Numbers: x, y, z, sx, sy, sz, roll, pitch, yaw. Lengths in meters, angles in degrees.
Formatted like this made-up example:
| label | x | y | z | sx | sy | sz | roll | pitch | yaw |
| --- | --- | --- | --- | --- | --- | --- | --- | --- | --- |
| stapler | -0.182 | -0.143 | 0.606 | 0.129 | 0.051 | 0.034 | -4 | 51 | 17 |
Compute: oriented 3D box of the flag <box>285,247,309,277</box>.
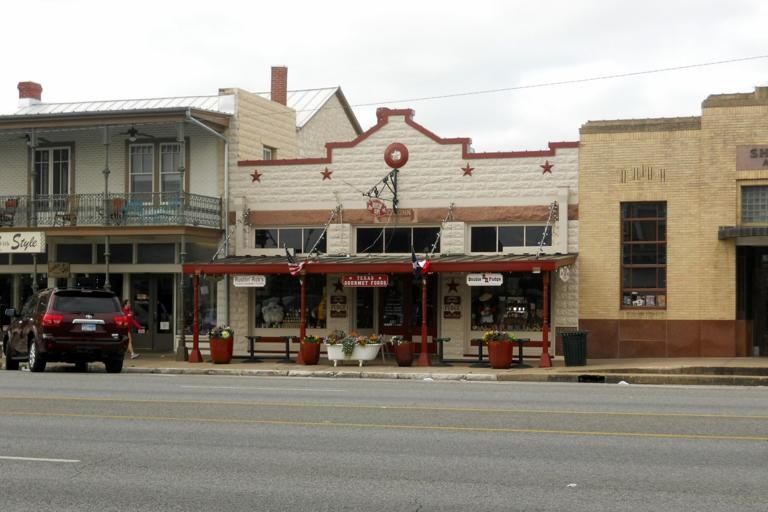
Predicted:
| label | x | y | z | sx | sy | sz | roll | pitch | yaw |
| --- | --- | --- | --- | --- | --- | --- | --- | --- | --- |
| flag | -2.742 | 0.162 | 38.528 | 0.808 | 0.555 | 0.968 | 2 | 5 | 5 |

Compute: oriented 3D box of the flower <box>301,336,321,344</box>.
| label | x | y | z | sx | sy | sz | roll | pitch | yaw |
| --- | --- | --- | --- | --- | --- | --- | --- | --- | --- |
| flower | -2.183 | 2.437 | 38.096 | 0.480 | 0.229 | 0.600 | 0 | -5 | 9 |

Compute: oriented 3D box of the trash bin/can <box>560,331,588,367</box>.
| label | x | y | z | sx | sy | sz | roll | pitch | yaw |
| --- | --- | --- | --- | --- | --- | --- | --- | --- | --- |
| trash bin/can | 5.624 | 2.624 | 36.866 | 1.025 | 0.937 | 0.942 | -1 | -4 | 2 |

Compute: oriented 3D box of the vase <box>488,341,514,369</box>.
| label | x | y | z | sx | sy | sz | roll | pitch | yaw |
| --- | --- | --- | --- | --- | --- | --- | --- | --- | --- |
| vase | 3.484 | 2.758 | 36.544 | 0.877 | 0.697 | 0.810 | 0 | -6 | -5 |

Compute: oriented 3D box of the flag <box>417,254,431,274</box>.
| label | x | y | z | sx | sy | sz | roll | pitch | yaw |
| --- | --- | --- | --- | --- | --- | --- | --- | --- | --- |
| flag | 1.234 | 0.177 | 37.152 | 0.361 | 0.505 | 0.750 | 1 | -5 | 2 |

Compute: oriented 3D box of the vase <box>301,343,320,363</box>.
| label | x | y | z | sx | sy | sz | roll | pitch | yaw |
| --- | --- | --- | --- | --- | --- | --- | --- | --- | --- |
| vase | -2.259 | 2.849 | 38.022 | 0.528 | 0.672 | 0.464 | 1 | -5 | -4 |

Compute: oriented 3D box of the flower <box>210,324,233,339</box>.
| label | x | y | z | sx | sy | sz | roll | pitch | yaw |
| --- | --- | --- | --- | --- | --- | --- | --- | --- | --- |
| flower | -5.089 | 2.261 | 38.652 | 0.697 | 0.368 | 0.706 | 1 | -5 | -8 |

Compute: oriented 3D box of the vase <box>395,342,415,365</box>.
| label | x | y | z | sx | sy | sz | roll | pitch | yaw |
| --- | --- | --- | --- | --- | --- | --- | --- | --- | --- |
| vase | 0.615 | 2.820 | 37.500 | 0.520 | 0.730 | 0.512 | 1 | -5 | -2 |

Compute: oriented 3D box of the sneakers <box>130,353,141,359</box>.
| label | x | y | z | sx | sy | sz | roll | pitch | yaw |
| --- | --- | --- | --- | --- | --- | --- | --- | --- | --- |
| sneakers | -8.006 | 3.050 | 39.706 | 0.496 | 0.152 | 0.210 | -10 | -41 | 47 |
